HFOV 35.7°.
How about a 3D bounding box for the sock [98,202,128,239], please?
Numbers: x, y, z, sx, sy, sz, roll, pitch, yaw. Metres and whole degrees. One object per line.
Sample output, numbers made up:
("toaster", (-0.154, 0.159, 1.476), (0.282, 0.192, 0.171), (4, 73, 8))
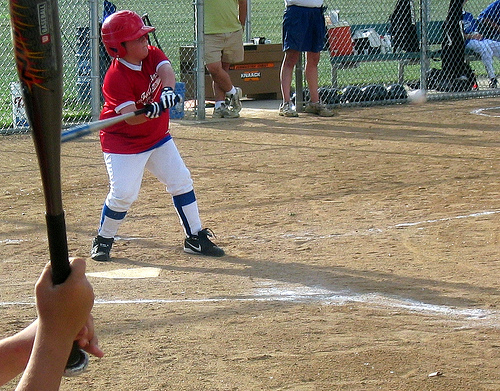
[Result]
("sock", (-0.804, 0.155, 4.497), (0.158, 0.199, 0.082), (-4, 10, -20))

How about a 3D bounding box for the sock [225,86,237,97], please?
("sock", (-0.249, -1.238, 9.357), (0.119, 0.116, 0.190), (-8, 12, -40))

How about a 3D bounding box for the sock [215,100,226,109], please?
("sock", (-0.363, -1.107, 9.531), (0.110, 0.078, 0.083), (-8, 15, -5))

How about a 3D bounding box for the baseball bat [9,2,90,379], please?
("baseball bat", (-0.458, -0.093, 1.702), (0.097, 0.632, 0.158), (-3, 10, -13))

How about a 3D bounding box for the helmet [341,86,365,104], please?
("helmet", (1.431, -1.352, 10.717), (0.366, 0.242, 0.093), (-4, -12, -24))

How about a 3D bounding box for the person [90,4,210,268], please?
("person", (-0.613, -0.362, 4.605), (0.626, 1.440, 2.625), (-2, 9, -11))

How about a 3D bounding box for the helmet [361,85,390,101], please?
("helmet", (1.743, -1.418, 10.783), (0.360, 0.214, 0.239), (-6, 11, -33))

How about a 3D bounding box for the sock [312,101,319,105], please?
("sock", (0.806, -1.123, 9.516), (0.019, 0.038, 0.107), (-10, 13, -43))

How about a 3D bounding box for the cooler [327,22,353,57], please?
("cooler", (1.328, -2.277, 11.423), (0.369, 0.472, 0.328), (1, 10, 8))

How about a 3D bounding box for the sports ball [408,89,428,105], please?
("sports ball", (2.353, -1.382, 10.945), (0.258, 0.244, 0.257), (-3, 39, 3))

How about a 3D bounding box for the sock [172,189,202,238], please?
("sock", (-0.373, 0.114, 4.630), (0.164, 0.276, 0.245), (-1, 9, -5))

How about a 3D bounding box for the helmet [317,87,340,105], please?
("helmet", (1.066, -1.344, 10.562), (0.287, 0.202, 0.434), (3, 9, 20))
